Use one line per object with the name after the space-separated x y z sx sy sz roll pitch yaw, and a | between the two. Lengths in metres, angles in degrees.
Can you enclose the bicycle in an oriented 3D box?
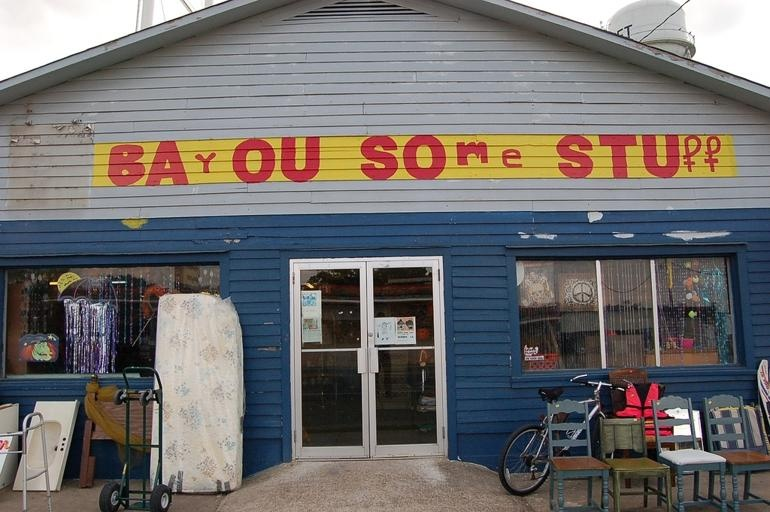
2.397 2.566 12.713 2.305 1.134 1.039 -13 1 -29 | bicycle
